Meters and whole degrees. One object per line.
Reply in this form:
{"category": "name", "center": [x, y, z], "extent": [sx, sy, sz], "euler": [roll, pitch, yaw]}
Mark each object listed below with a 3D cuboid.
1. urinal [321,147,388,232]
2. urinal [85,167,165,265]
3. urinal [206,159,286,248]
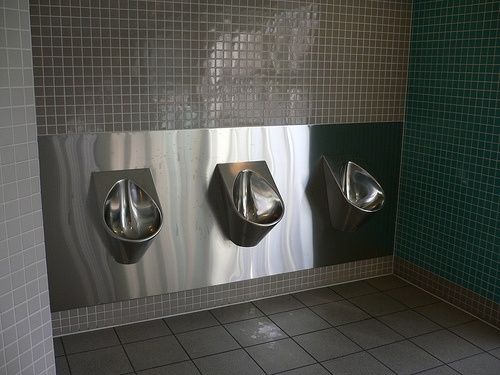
{"category": "urinal", "center": [0.861, 0.039, 3.094], "extent": [0.420, 0.704, 0.437], "euler": [-1, 18, -19]}
{"category": "urinal", "center": [-0.814, 0.134, 2.629], "extent": [0.573, 0.608, 0.751], "euler": [-3, 19, -13]}
{"category": "urinal", "center": [-0.034, 0.138, 2.772], "extent": [0.527, 0.549, 0.479], "euler": [-4, 20, -9]}
